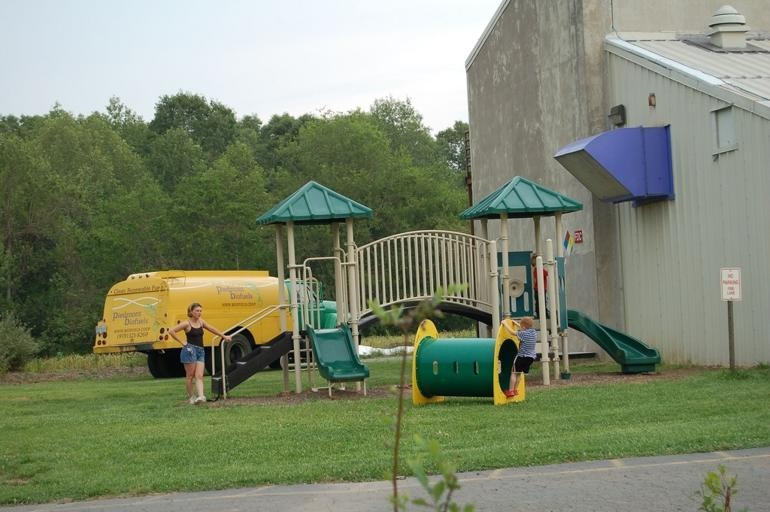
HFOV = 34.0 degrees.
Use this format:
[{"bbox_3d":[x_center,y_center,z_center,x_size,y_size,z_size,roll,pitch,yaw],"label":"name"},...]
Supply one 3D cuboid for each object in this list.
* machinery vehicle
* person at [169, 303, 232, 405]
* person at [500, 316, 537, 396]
[{"bbox_3d":[-5.334,2.051,42.782,7.846,3.638,4.620,-2,0,-40],"label":"machinery vehicle"},{"bbox_3d":[-4.875,2.441,33.098,0.987,2.924,1.409,0,-1,-28],"label":"person"},{"bbox_3d":[3.352,2.418,31.395,0.588,1.972,1.219,-6,-7,28],"label":"person"}]
